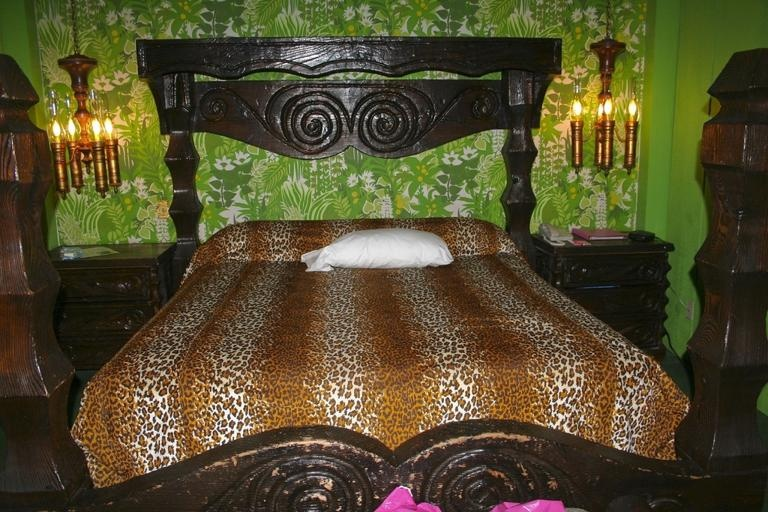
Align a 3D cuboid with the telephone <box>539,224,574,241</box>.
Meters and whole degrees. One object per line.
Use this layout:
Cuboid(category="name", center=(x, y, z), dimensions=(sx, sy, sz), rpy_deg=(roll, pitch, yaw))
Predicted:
Cuboid(category="telephone", center=(1.198, -0.152, 4.000), dimensions=(0.150, 0.047, 0.147), rpy_deg=(1, 13, -5))
